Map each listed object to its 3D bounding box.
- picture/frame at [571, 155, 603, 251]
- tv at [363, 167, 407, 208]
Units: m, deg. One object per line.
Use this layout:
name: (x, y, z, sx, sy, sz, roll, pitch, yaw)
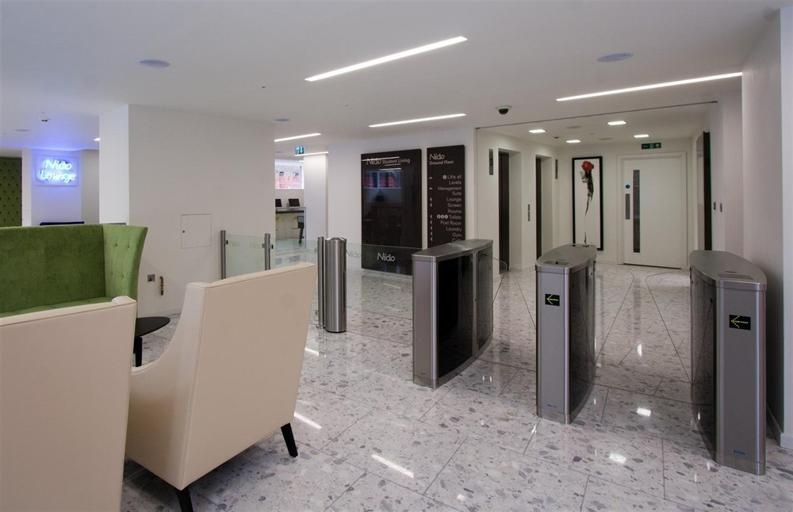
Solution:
picture/frame: (4.027, -1.125, 10.800, 0.094, 1.965, 0.660, -19, 19, -41)
tv: (-0.258, -1.268, 9.800, 0.834, 0.786, 0.469, 0, -10, -4)
